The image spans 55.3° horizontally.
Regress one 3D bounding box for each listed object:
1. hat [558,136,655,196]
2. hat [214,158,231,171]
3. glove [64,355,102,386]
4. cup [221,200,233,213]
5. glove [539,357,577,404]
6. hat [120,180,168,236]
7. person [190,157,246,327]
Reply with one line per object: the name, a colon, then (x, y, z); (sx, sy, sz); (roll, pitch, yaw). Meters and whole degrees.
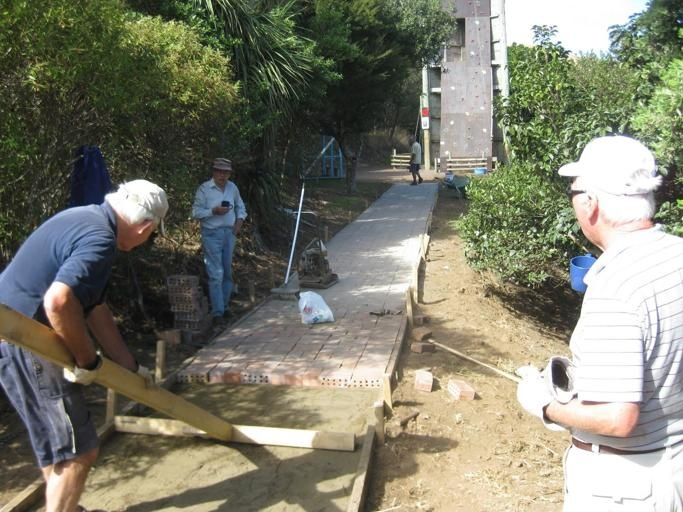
hat: (1.587, -0.513, 3.821); (0.424, 0.235, 0.322); (24, 19, 39)
hat: (-1.668, -1.282, 9.147); (0.212, 0.100, 0.269); (3, 4, -11)
glove: (-1.871, 0.829, 4.790); (0.198, 0.247, 0.235); (-9, 54, 10)
cup: (-1.606, -0.698, 9.080); (0.159, 0.163, 0.098); (9, 5, -45)
glove: (1.332, 0.771, 3.986); (0.108, 0.140, 0.331); (-16, 27, 16)
hat: (-1.464, -0.401, 4.994); (0.275, 0.314, 0.381); (36, 0, 39)
person: (-1.713, -0.235, 9.345); (0.688, 2.287, 0.603); (-4, 13, -7)
